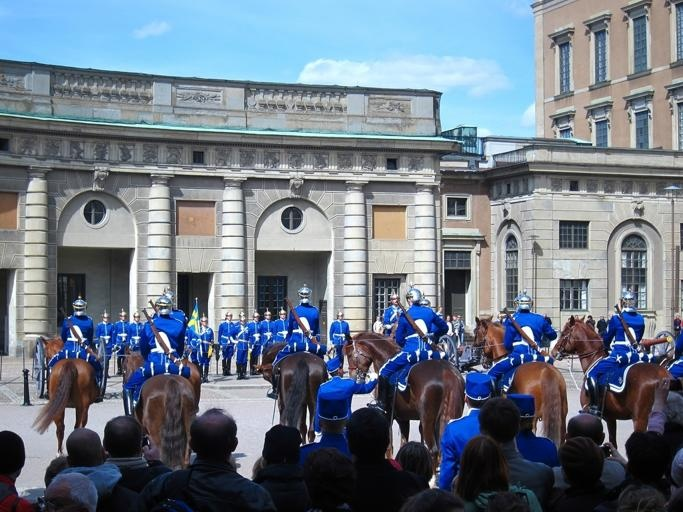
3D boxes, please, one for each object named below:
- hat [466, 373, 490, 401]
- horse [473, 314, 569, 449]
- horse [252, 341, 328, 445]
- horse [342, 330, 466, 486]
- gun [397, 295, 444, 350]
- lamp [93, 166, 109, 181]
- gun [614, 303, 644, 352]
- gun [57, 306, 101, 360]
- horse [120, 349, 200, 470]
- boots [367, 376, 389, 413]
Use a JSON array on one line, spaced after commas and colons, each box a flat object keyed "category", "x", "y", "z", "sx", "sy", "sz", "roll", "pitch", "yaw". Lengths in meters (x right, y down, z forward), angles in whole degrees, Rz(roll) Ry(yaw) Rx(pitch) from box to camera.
[{"category": "hat", "x": 3.546, "y": 3.428, "z": 38.848, "sx": 0.653, "sy": 0.788, "sz": 0.493, "roll": 0, "pitch": -7, "yaw": 3}, {"category": "horse", "x": 4.805, "y": 3.889, "z": 44.792, "sx": 1.153, "sy": 3.176, "sz": 4.684, "roll": 8, "pitch": 7, "yaw": -33}, {"category": "horse", "x": -1.379, "y": 3.901, "z": 45.503, "sx": 1.127, "sy": 2.424, "sz": 4.433, "roll": 0, "pitch": 0, "yaw": -10}, {"category": "horse", "x": 1.807, "y": 4.246, "z": 43.906, "sx": 1.373, "sy": 4.245, "sz": 4.419, "roll": 4, "pitch": -8, "yaw": -32}, {"category": "gun", "x": 2.337, "y": 1.936, "z": 44.585, "sx": 1.190, "sy": 1.823, "sz": 1.141, "roll": -2, "pitch": 2, "yaw": 24}, {"category": "lamp", "x": -10.012, "y": -3.544, "z": 61.818, "sx": 0.424, "sy": 0.593, "sz": 0.220, "roll": 4, "pitch": 10, "yaw": -8}, {"category": "gun", "x": 8.515, "y": 2.073, "z": 44.974, "sx": 0.430, "sy": 1.719, "sz": 0.206, "roll": -25, "pitch": -24, "yaw": -2}, {"category": "gun", "x": -8.558, "y": 2.419, "z": 48.590, "sx": 1.143, "sy": 1.833, "sz": 1.067, "roll": -3, "pitch": 5, "yaw": -39}, {"category": "horse", "x": -4.966, "y": 4.366, "z": 41.664, "sx": 1.929, "sy": 3.197, "sz": 5.877, "roll": 1, "pitch": -7, "yaw": -7}, {"category": "boots", "x": 1.172, "y": 4.210, "z": 44.382, "sx": 0.412, "sy": 0.766, "sz": 1.411, "roll": 7, "pitch": 0, "yaw": -3}]
